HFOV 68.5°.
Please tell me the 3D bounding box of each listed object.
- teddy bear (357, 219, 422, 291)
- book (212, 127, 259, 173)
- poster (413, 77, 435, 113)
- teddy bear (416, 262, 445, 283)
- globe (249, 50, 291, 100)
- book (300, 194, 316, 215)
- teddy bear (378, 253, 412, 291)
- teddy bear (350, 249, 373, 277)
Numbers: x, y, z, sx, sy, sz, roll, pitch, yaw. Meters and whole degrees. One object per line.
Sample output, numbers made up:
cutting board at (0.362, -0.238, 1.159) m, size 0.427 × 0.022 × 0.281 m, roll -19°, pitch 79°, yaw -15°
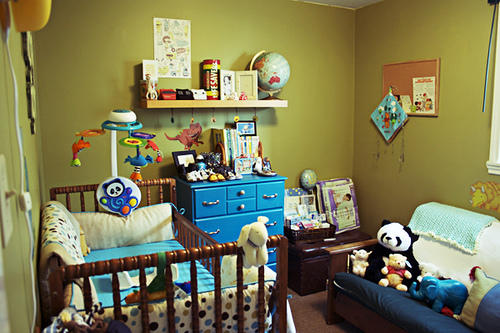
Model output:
teddy bear at (1.276, 0.798, 3.317) m, size 0.567 × 0.544 × 0.413 m, roll 9°, pitch 5°, yaw 38°
book at (-0.279, -0.198, 4.257) m, size 0.435 × 0.544 × 0.578 m, roll 6°, pitch 6°, yaw 17°
poster at (1.847, -0.755, 3.898) m, size 0.034 × 0.361 × 0.245 m, roll -10°, pitch 13°, yaw -31°
teddy bear at (1.511, 0.872, 3.093) m, size 0.188 × 0.129 × 0.195 m, roll 17°, pitch 24°, yaw 33°
globe at (0.211, -1.023, 4.140) m, size 0.445 × 0.542 × 0.242 m, roll -4°, pitch 11°, yaw -5°
book at (0.730, 0.458, 4.564) m, size 0.217 × 0.212 × 0.052 m, roll 2°, pitch 0°, yaw -27°
teddy bear at (1.259, 0.906, 3.164) m, size 0.254 × 0.303 × 0.167 m, roll 12°, pitch 0°, yaw 20°
teddy bear at (1.004, 0.865, 3.332) m, size 0.207 × 0.249 × 0.135 m, roll 11°, pitch -9°, yaw -6°
